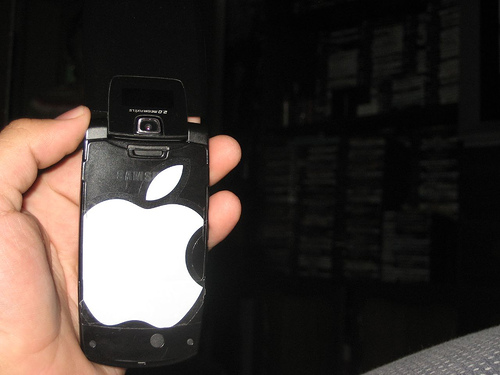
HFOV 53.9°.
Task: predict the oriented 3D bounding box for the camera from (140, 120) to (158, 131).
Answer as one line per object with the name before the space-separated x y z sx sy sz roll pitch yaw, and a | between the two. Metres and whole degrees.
camera | -0.167 -0.098 0.802 0.024 0.017 0.015 5 -4 -10
